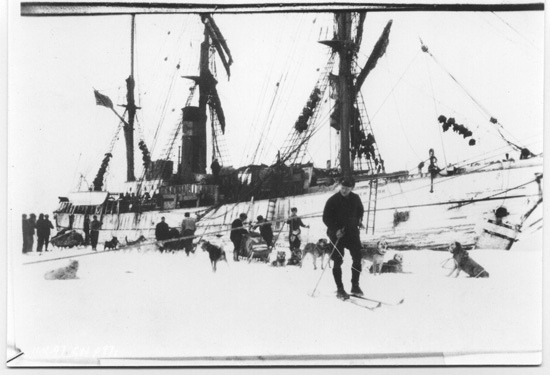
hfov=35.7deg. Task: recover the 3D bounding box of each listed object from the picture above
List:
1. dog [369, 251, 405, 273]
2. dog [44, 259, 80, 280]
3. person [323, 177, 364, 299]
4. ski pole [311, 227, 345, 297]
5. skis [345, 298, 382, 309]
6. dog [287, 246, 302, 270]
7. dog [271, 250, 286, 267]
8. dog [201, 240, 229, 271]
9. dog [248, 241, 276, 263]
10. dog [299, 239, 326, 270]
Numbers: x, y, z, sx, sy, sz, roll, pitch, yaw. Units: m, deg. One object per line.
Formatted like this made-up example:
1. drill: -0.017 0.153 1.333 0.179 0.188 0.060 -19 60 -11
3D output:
1. dog: 1.089 0.734 8.341 0.429 0.238 0.138 -8 -3 7
2. dog: -2.101 0.814 8.391 0.384 0.230 0.132 -2 -1 -9
3. person: 0.660 0.490 8.254 0.401 1.153 0.117 2 -8 6
4. ski pole: 0.502 0.748 8.229 0.046 0.719 0.025 30 -7 -36
5. skis: 0.842 1.123 8.219 0.358 0.094 0.043 5 -8 -9
6. dog: 0.177 0.681 8.245 0.195 0.229 0.164 3 -5 -15
7. dog: 0.019 0.704 8.234 0.136 0.152 0.097 1 -3 -4
8. dog: -0.584 0.680 8.301 0.135 0.288 0.479 -5 6 -19
9. dog: -0.130 0.636 8.254 0.157 0.208 0.225 3 -13 0
10. dog: 0.353 0.638 8.279 0.275 0.242 0.104 2 -5 37
